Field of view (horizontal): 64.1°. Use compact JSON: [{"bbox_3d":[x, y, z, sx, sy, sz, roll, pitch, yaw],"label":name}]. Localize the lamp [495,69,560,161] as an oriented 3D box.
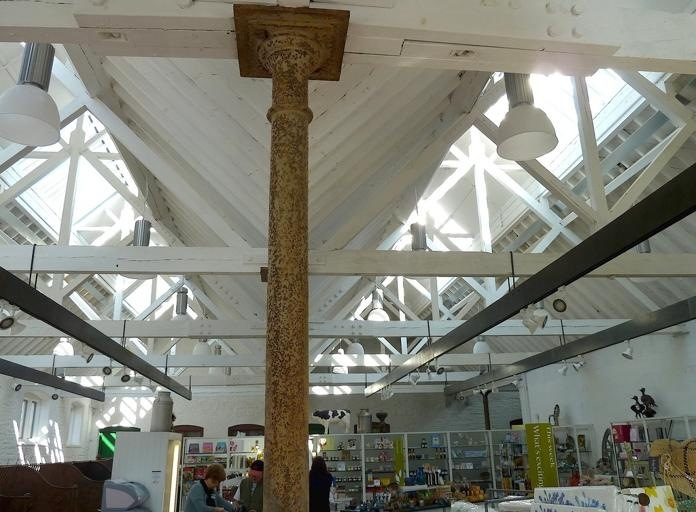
[{"bbox_3d":[1.549,-1.434,5.182,0.445,0.839,0.407,-13,-9,-1],"label":"lamp"}]
